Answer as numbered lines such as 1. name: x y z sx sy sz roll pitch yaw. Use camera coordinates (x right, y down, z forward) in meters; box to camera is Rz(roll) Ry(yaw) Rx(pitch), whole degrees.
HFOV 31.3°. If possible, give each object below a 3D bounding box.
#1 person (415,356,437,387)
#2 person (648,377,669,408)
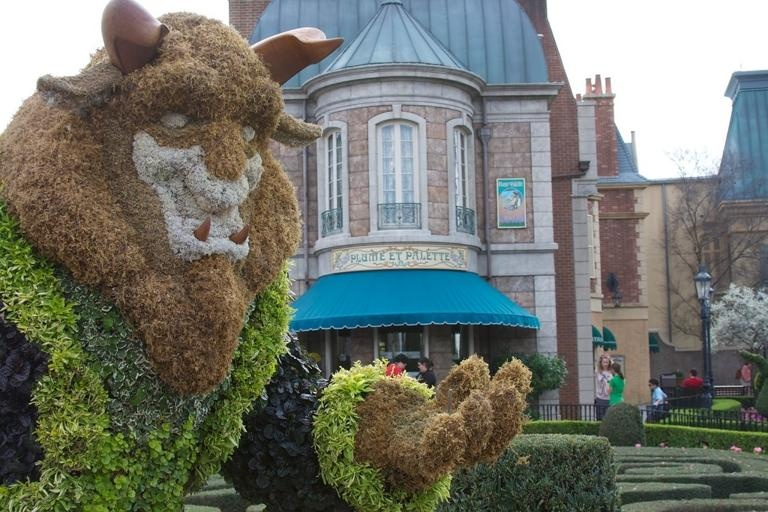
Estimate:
1. person: 0.869 2.401 28.960 0.513 0.868 0.892 1 -8 6
2. person: 6.888 3.398 34.638 0.403 0.658 1.579 0 -1 11
